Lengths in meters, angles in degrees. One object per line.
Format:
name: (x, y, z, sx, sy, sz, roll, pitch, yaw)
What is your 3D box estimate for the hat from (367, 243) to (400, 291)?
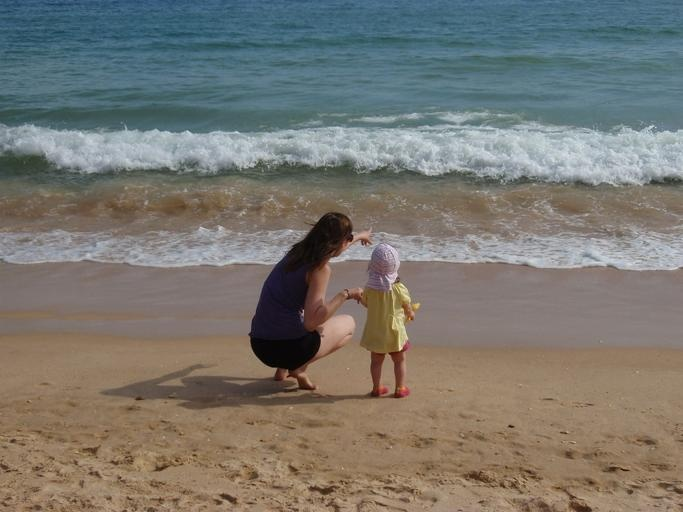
hat: (0.567, 0.144, 10.804, 0.524, 0.506, 0.342, 4, 0, 5)

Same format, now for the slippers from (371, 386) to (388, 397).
slippers: (0.476, 1.689, 10.944, 0.212, 0.064, 0.111, -10, 17, -40)

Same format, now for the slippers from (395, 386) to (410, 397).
slippers: (0.759, 1.689, 10.923, 0.120, 0.101, 0.189, 12, 20, 43)
